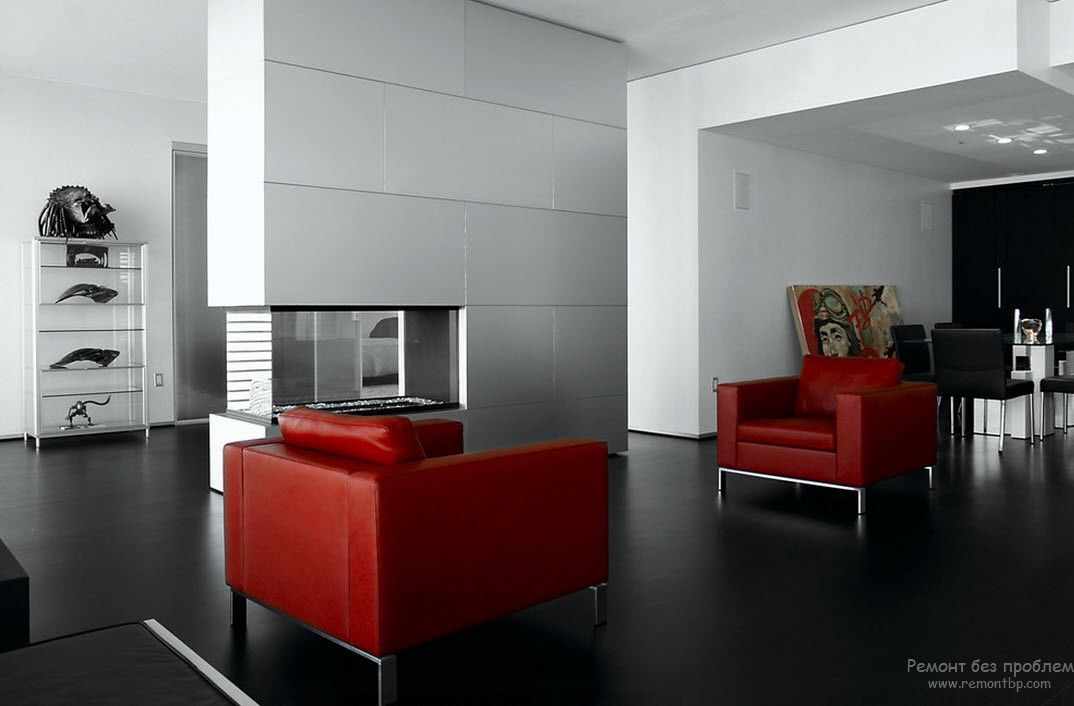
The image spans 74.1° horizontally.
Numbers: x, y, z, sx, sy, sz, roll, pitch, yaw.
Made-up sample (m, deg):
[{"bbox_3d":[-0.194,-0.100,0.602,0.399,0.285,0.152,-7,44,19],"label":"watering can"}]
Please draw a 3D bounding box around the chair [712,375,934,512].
[{"bbox_3d":[2.445,0.634,6.074,1.301,0.750,1.404,-3,2,-33],"label":"chair"}]

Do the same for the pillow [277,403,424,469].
[{"bbox_3d":[-0.978,0.408,3.555,1.031,0.263,0.236,-1,-11,43],"label":"pillow"}]

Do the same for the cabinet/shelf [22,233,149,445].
[{"bbox_3d":[-5.280,-0.191,8.350,1.335,2.305,0.523,-5,9,-37],"label":"cabinet/shelf"}]

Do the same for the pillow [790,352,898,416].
[{"bbox_3d":[2.677,0.373,6.308,0.931,0.617,0.692,-3,2,-28],"label":"pillow"}]

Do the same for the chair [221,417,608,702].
[{"bbox_3d":[-0.543,0.587,3.545,1.369,1.117,1.368,-2,2,-43],"label":"chair"}]
